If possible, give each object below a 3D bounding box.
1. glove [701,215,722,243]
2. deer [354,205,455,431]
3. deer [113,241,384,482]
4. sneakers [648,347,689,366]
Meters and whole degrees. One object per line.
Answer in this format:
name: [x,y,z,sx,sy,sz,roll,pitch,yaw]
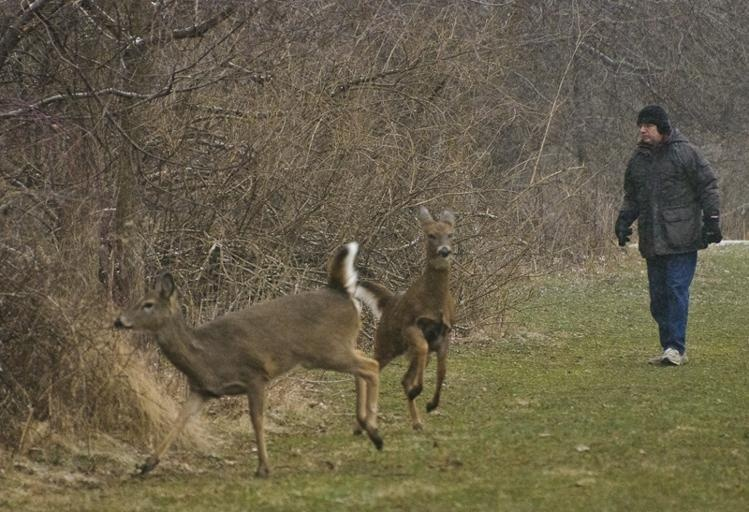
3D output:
glove: [4.243,-0.338,12.890,0.258,0.320,0.141,-2,2,16]
deer: [0.353,0.866,11.603,0.805,2.323,2.964,1,-9,-19]
deer: [-1.245,1.103,10.013,2.589,2.156,0.680,-5,-1,-17]
sneakers: [3.694,1.261,12.830,0.486,0.226,0.212,1,2,-1]
